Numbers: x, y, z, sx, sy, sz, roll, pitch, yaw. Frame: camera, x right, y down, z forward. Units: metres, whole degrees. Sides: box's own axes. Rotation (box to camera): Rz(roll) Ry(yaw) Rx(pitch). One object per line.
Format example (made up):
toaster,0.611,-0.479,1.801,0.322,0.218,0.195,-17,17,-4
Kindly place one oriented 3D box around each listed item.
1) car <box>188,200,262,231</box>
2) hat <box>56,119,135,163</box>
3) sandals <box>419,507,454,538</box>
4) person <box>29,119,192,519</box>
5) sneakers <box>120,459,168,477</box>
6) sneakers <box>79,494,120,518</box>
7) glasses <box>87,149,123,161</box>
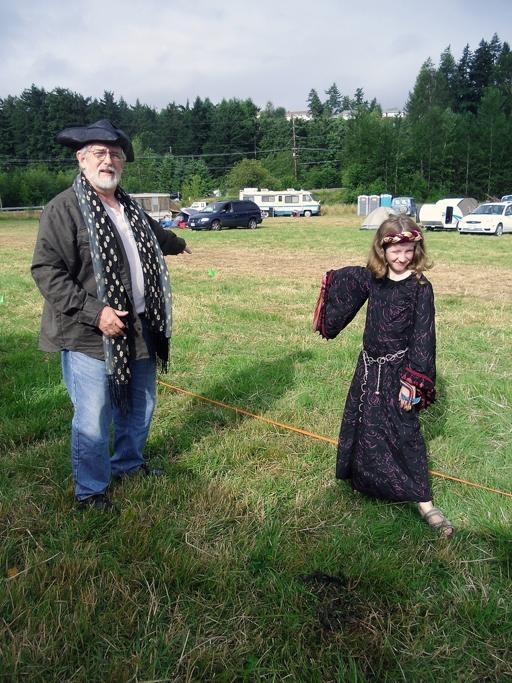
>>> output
car,-1.743,-7.025,31.233,3.873,1.393,1.832,-8,13,-38
hat,-0.792,-0.995,2.720,0.416,0.180,0.312,1,9,-5
sandals,0.871,0.863,2.674,0.059,0.043,0.163,-25,10,-10
person,-0.747,-0.146,2.862,0.530,1.910,0.822,2,12,8
sneakers,-0.627,0.717,3.120,0.248,0.098,0.081,12,-2,-29
sneakers,-0.746,0.777,2.656,0.220,0.092,0.080,0,5,12
glasses,-0.715,-0.901,2.717,0.077,0.064,0.198,6,13,26
